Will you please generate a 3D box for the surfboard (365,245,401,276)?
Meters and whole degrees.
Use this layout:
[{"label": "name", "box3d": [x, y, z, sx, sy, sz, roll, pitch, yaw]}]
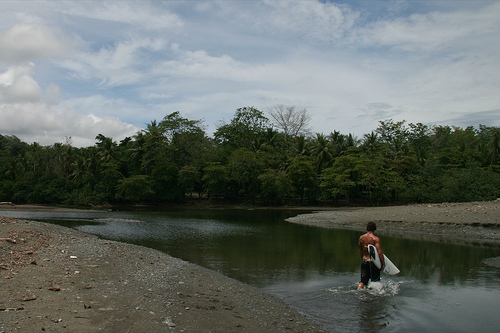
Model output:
[{"label": "surfboard", "box3d": [6.475, 4.607, 19.429, 1.570, 1.516, 0.605, 3, 5, -14]}]
